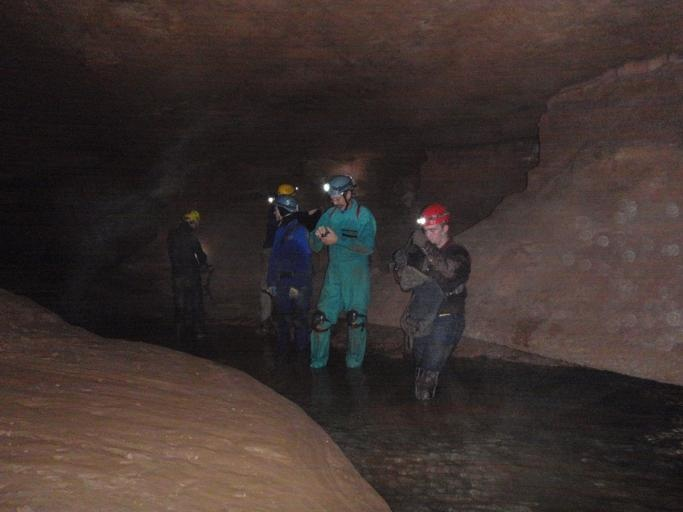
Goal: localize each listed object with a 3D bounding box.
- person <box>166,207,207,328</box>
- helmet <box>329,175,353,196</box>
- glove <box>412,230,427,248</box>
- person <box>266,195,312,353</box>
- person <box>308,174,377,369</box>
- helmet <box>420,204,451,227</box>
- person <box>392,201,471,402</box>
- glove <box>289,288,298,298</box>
[{"bbox_3d":[-2.286,0.259,12.134,0.559,1.739,0.530,-9,13,-23],"label":"person"},{"bbox_3d":[0.001,-0.939,10.767,0.306,0.273,0.238,0,3,-21],"label":"helmet"},{"bbox_3d":[1.060,-0.208,10.705,0.202,0.250,0.068,9,-1,-36],"label":"glove"},{"bbox_3d":[-0.724,0.280,11.576,0.653,2.199,0.473,-5,12,-4],"label":"person"},{"bbox_3d":[0.019,0.229,10.812,0.598,2.567,0.888,5,15,37],"label":"person"},{"bbox_3d":[1.180,-0.499,10.253,0.333,0.243,0.256,11,1,-19],"label":"helmet"},{"bbox_3d":[1.026,0.522,10.157,0.981,2.257,0.829,-15,16,-42],"label":"person"},{"bbox_3d":[-0.658,0.529,11.453,0.111,0.139,0.070,7,35,4],"label":"glove"}]
